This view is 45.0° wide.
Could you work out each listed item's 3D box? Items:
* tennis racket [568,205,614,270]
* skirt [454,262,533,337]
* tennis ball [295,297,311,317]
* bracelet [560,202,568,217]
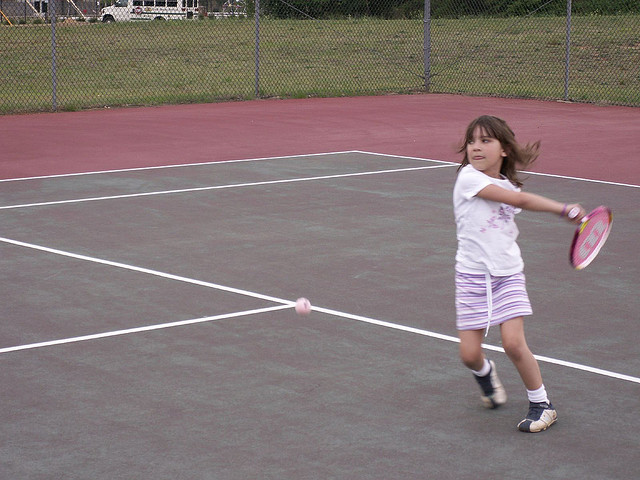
[{"bbox_3d":[1.449,-0.013,4.187,0.094,0.352,0.303,27,37,11],"label":"tennis racket"},{"bbox_3d":[0.951,0.329,4.314,0.413,0.370,0.256,1,17,9],"label":"skirt"},{"bbox_3d":[-0.139,0.500,5.651,0.176,0.131,0.142,-1,1,-7],"label":"tennis ball"},{"bbox_3d":[1.232,-0.138,3.936,0.025,0.063,0.075,3,16,16],"label":"bracelet"}]
